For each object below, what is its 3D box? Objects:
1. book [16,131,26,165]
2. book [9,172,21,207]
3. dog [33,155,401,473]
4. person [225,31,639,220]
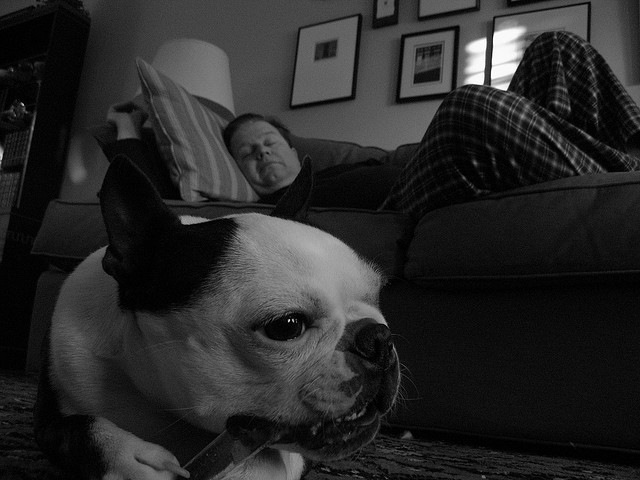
[{"bbox_3d":[-1.567,-0.477,3.133,0.028,0.174,0.059,4,4,-24],"label":"book"},{"bbox_3d":[-1.556,-0.256,3.056,0.040,0.173,0.099,3,4,-37],"label":"book"},{"bbox_3d":[-0.151,0.132,0.915,0.518,0.370,0.368,-13,-21,34],"label":"dog"},{"bbox_3d":[0.353,-0.369,1.864,1.171,0.489,0.564,-19,7,38],"label":"person"}]
